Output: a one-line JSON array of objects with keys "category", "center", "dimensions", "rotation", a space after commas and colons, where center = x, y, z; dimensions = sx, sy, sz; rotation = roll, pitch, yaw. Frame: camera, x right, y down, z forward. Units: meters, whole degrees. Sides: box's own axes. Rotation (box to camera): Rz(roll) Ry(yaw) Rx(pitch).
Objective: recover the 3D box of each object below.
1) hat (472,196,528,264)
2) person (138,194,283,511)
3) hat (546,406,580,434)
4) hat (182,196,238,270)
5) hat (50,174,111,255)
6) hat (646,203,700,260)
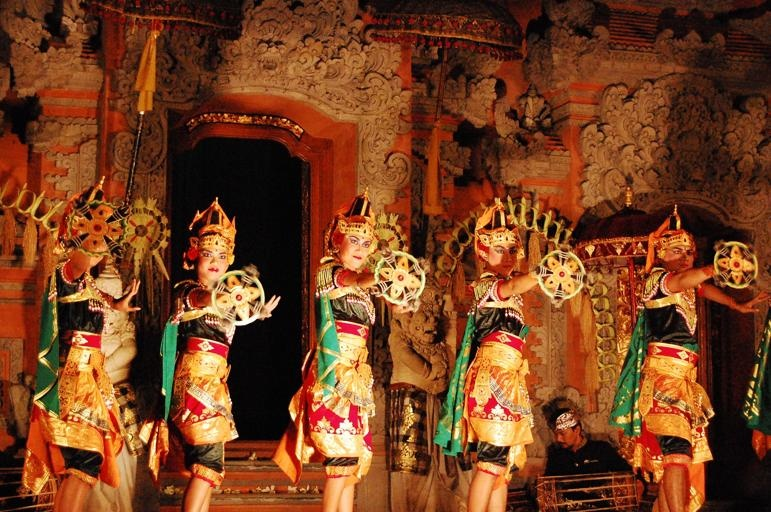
[{"category": "hat", "center": [0.816, -0.217, 8.812], "dimensions": [0.498, 0.606, 0.454], "rotation": [2, -5, -15]}, {"category": "person", "center": [-1.315, 0.712, 8.315], "dimensions": [0.637, 2.317, 1.205], "rotation": [11, -19, -20]}, {"category": "hat", "center": [1.590, 1.458, 9.939], "dimensions": [0.259, 0.175, 0.235], "rotation": [-4, -7, -6]}, {"category": "hat", "center": [-1.274, -0.142, 8.664], "dimensions": [0.485, 0.505, 0.521], "rotation": [5, -28, -8]}, {"category": "hat", "center": [-2.278, -0.279, 8.394], "dimensions": [0.476, 0.581, 0.233], "rotation": [-6, -21, 30]}, {"category": "hat", "center": [2.379, -0.210, 9.202], "dimensions": [0.384, 0.474, 0.489], "rotation": [-3, -7, 44]}]
